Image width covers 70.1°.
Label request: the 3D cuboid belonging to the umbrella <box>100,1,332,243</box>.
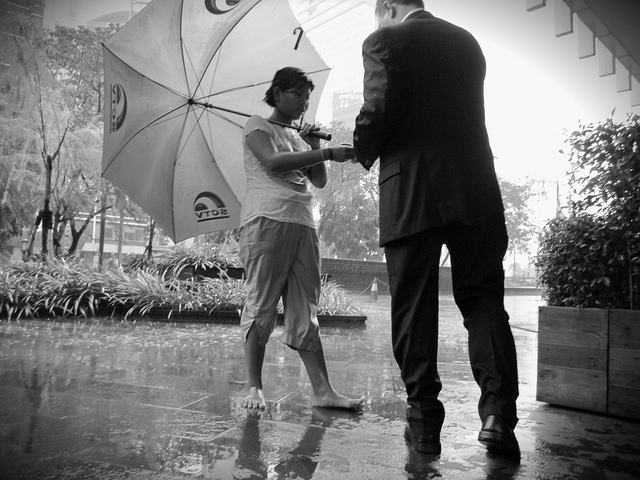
[{"bbox_3d":[-1.543,-1.003,4.907,2.103,2.281,0.757,-10,10,-28],"label":"umbrella"}]

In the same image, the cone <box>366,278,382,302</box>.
[{"bbox_3d":[1.912,1.884,16.137,0.623,0.922,0.659,4,-16,7],"label":"cone"}]

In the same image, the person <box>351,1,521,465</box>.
[{"bbox_3d":[0.632,-0.134,2.479,0.942,2.499,0.316,4,-4,-3],"label":"person"}]
